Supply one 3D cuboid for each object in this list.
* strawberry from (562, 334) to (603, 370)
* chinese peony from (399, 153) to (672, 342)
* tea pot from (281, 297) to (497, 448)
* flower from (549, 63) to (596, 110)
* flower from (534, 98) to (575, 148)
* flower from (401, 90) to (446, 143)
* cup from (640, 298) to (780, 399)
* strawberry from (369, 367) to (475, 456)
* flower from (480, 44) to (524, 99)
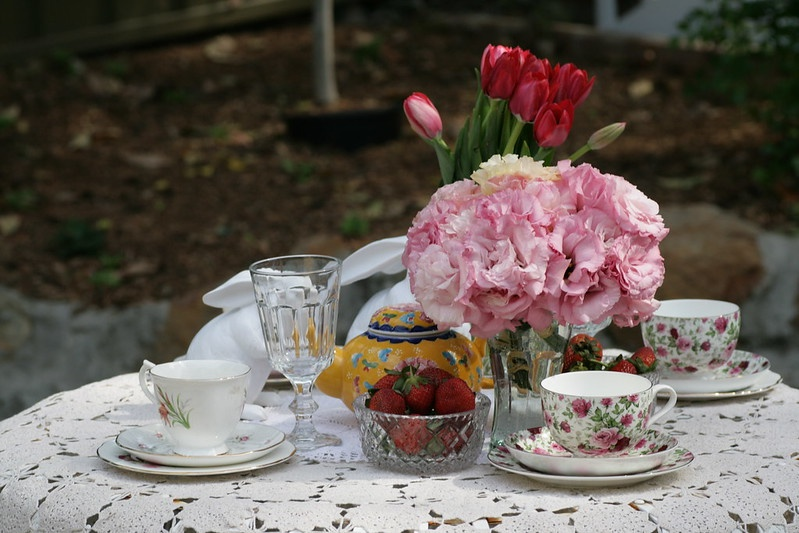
[{"bbox_3d":[0.333,0.147,1.437,0.067,0.062,0.068,4,17,43],"label":"strawberry"},{"bbox_3d":[0.266,0.006,1.376,0.389,0.386,0.273,17,-1,-6],"label":"chinese peony"},{"bbox_3d":[-0.003,0.199,1.454,0.316,0.175,0.227,2,2,4],"label":"tea pot"},{"bbox_3d":[0.318,-0.335,1.423,0.072,0.075,0.181,1,10,11],"label":"flower"},{"bbox_3d":[0.276,-0.255,1.376,0.068,0.082,0.095,1,11,12],"label":"flower"},{"bbox_3d":[0.050,-0.270,1.429,0.055,0.104,0.053,-27,5,-22],"label":"flower"},{"bbox_3d":[0.662,0.164,1.635,0.238,0.117,0.244,-2,7,0],"label":"cup"},{"bbox_3d":[0.044,0.238,1.323,0.162,0.110,0.150,-2,-6,16],"label":"strawberry"},{"bbox_3d":[0.193,-0.356,1.401,0.080,0.101,0.095,4,12,26],"label":"flower"}]
